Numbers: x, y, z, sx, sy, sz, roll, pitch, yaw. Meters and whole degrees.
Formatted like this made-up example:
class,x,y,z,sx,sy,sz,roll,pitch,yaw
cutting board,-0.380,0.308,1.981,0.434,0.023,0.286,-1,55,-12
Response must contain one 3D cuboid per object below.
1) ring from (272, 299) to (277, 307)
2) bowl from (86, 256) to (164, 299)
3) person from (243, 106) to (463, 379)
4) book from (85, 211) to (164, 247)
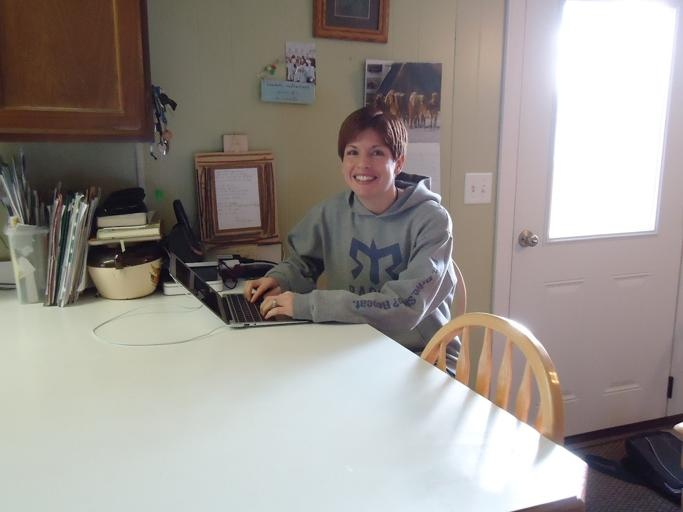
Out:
class,x,y,z,sx,sy,sz,roll,pitch,yaw
ring,-0.194,0.137,1.499,0.012,0.014,0.025,-3,51,1
bowl,-0.703,0.051,1.668,0.136,0.075,0.146,-5,4,0
person,0.064,-0.016,1.780,0.657,0.937,0.625,3,14,22
book,-0.702,-0.076,1.711,0.181,0.083,0.260,15,23,42
